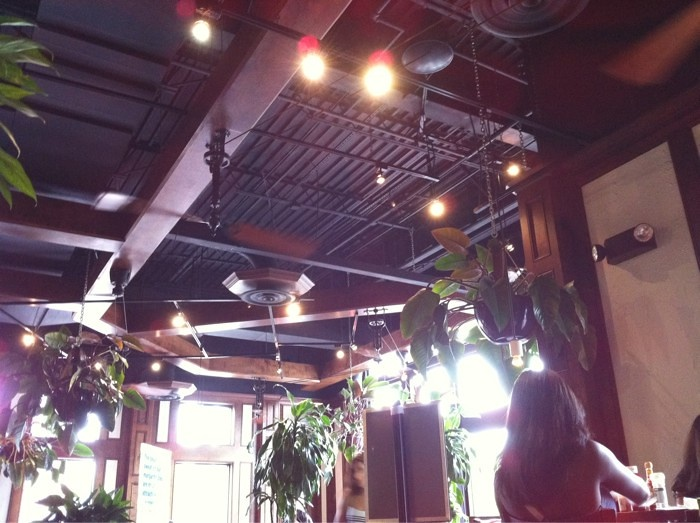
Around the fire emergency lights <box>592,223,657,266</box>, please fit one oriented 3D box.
[{"bbox_3d":[2.456,-0.149,4.705,0.159,0.268,0.445,10,-25,-34],"label":"fire emergency lights"}]

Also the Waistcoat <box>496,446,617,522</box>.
[{"bbox_3d":[1.005,1.152,2.591,0.371,0.280,0.517,-27,-8,18],"label":"Waistcoat"}]
